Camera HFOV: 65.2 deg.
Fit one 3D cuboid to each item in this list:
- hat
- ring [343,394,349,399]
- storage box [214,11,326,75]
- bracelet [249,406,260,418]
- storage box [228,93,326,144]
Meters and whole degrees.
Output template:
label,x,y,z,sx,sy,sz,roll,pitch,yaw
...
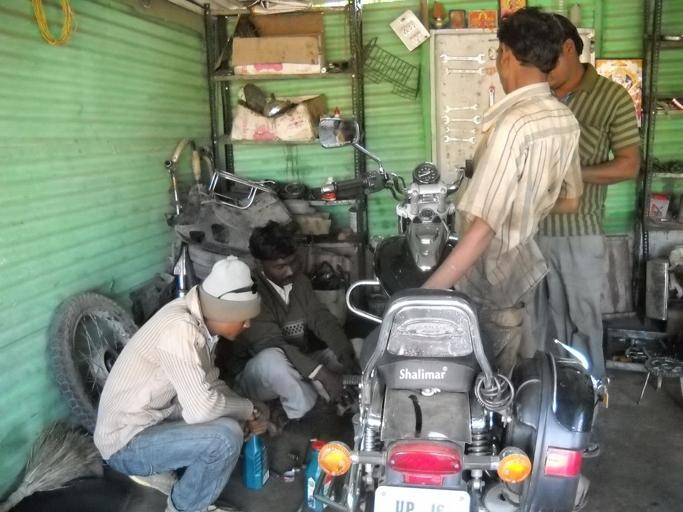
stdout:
label,x,y,z,sx,sy,sz,roll,pitch,yaw
hat,-0.588,0.168,2.792,0.298,0.293,0.330,-3,12,-13
ring,0.032,0.961,3.685,0.038,0.036,0.009,3,14,-2
storage box,-0.660,-1.955,4.916,0.995,0.636,0.521,-2,11,0
bracelet,-0.493,0.893,3.038,0.041,0.054,0.058,1,-7,0
storage box,-0.596,-1.272,5.017,0.829,0.434,0.453,1,12,14
